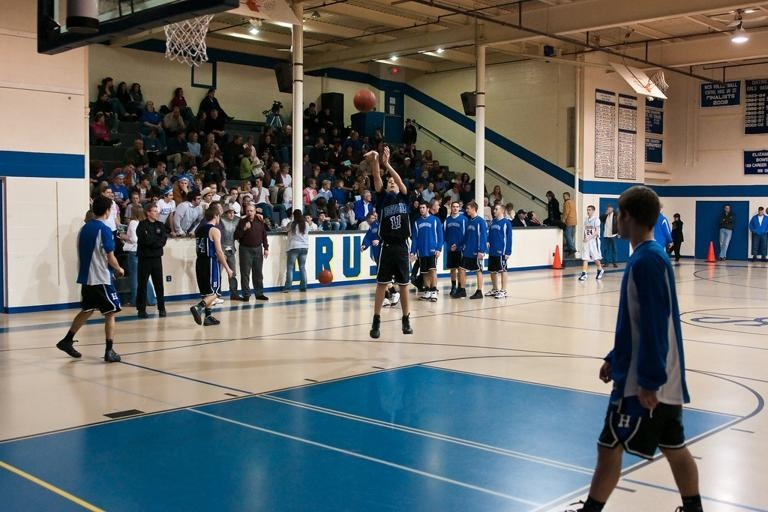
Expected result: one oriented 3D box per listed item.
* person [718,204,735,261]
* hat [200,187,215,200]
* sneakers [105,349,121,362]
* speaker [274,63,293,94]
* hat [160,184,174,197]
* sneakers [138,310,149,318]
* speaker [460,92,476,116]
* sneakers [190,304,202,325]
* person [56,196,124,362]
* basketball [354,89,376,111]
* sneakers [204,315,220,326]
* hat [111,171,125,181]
[{"bbox_3d":[14.336,-0.988,26.458,0.558,2.332,0.498,1,4,27],"label":"person"},{"bbox_3d":[-4.027,-1.418,14.469,0.286,0.267,0.258,-2,0,44],"label":"hat"},{"bbox_3d":[-3.889,1.449,9.127,0.235,0.163,0.127,-2,4,-17],"label":"sneakers"},{"bbox_3d":[-2.697,-4.854,17.089,0.393,0.857,0.963,-1,4,-13],"label":"speaker"},{"bbox_3d":[-5.100,-1.527,14.893,0.276,0.246,0.352,-5,-14,-32],"label":"hat"},{"bbox_3d":[-4.720,1.147,12.402,0.191,0.121,0.298,-2,4,-20],"label":"sneakers"},{"bbox_3d":[2.764,-4.945,20.583,0.681,0.877,0.705,-1,11,3],"label":"speaker"},{"bbox_3d":[-3.497,1.113,11.782,0.114,0.327,0.212,-12,12,21],"label":"sneakers"},{"bbox_3d":[-4.120,0.456,9.131,1.085,2.137,0.616,1,4,25],"label":"person"},{"bbox_3d":[-0.439,-3.153,12.890,0.464,0.525,0.498,-1,13,11],"label":"basketball"},{"bbox_3d":[-3.243,1.224,11.815,0.349,0.226,0.132,-1,1,-20],"label":"sneakers"},{"bbox_3d":[-6.281,-1.866,14.933,0.278,0.204,0.249,-3,5,-36],"label":"hat"}]
